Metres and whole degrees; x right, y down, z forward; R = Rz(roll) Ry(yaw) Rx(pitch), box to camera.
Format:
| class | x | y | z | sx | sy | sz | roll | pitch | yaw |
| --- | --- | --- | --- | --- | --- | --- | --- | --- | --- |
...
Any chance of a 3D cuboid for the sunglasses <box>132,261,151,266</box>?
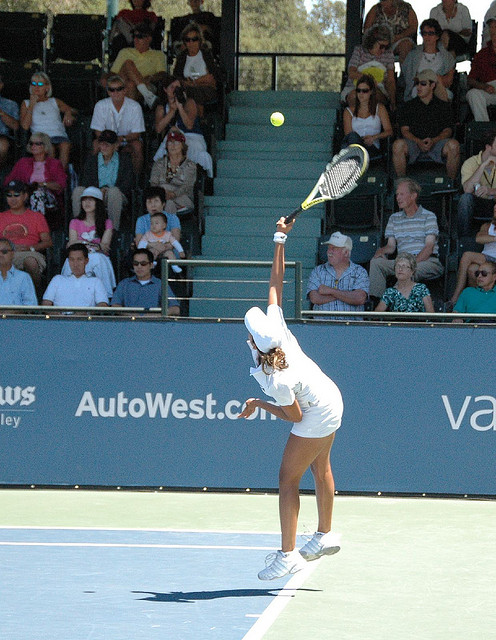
| class | x | y | z | sx | sy | sz | roll | pitch | yaw |
| --- | --- | --- | --- | --- | --- | --- | --- | --- | --- |
| sunglasses | -0.997 | -0.533 | 11.067 | 0.151 | 0.041 | 0.092 | 0 | 3 | -10 |

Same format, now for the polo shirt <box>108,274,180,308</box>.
| class | x | y | z | sx | sy | sz | roll | pitch | yaw |
| --- | --- | --- | --- | --- | --- | --- | --- | --- | --- |
| polo shirt | -0.986 | -0.263 | 10.997 | 0.352 | 0.263 | 0.135 | 2 | -18 | 7 |

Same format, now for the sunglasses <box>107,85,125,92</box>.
| class | x | y | z | sx | sy | sz | roll | pitch | yaw |
| --- | --- | --- | --- | --- | --- | --- | --- | --- | --- |
| sunglasses | -1.595 | -2.789 | 14.256 | 0.195 | 0.074 | 0.084 | 0 | 3 | -7 |

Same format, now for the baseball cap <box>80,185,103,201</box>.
| class | x | y | z | sx | sy | sz | roll | pitch | yaw |
| --- | --- | --- | --- | --- | --- | --- | --- | --- | --- |
| baseball cap | -1.673 | -1.358 | 12.627 | 0.224 | 0.149 | 0.458 | 0 | 3 | -7 |

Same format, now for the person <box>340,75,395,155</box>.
| class | x | y | z | sx | sy | sz | roll | pitch | yaw |
| --- | --- | --- | --- | --- | --- | --- | --- | --- | --- |
| person | 1.372 | -2.382 | 13.790 | 0.465 | 0.902 | 0.471 | -1 | 3 | -23 |

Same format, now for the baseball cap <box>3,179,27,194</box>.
| class | x | y | z | sx | sy | sz | roll | pitch | yaw |
| --- | --- | --- | --- | --- | --- | --- | --- | --- | --- |
| baseball cap | -2.490 | -1.432 | 12.627 | 0.216 | 0.150 | 0.328 | 0 | 3 | -11 |

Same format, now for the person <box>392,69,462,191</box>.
| class | x | y | z | sx | sy | sz | roll | pitch | yaw |
| --- | --- | --- | --- | --- | --- | --- | --- | --- | --- |
| person | 2.057 | -2.227 | 13.598 | 0.772 | 1.466 | 1.064 | 1 | 3 | 9 |

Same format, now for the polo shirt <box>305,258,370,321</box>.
| class | x | y | z | sx | sy | sz | roll | pitch | yaw |
| --- | --- | --- | --- | --- | --- | --- | --- | --- | --- |
| polo shirt | 0.853 | -0.286 | 11.340 | 0.551 | 0.608 | 0.352 | 4 | 9 | 7 |

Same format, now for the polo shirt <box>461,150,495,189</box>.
| class | x | y | z | sx | sy | sz | roll | pitch | yaw |
| --- | --- | --- | --- | --- | --- | --- | --- | --- | --- |
| polo shirt | 2.453 | -1.625 | 12.758 | 0.296 | 0.418 | 0.447 | 0 | 3 | -12 |

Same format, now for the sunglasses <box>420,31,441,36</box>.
| class | x | y | z | sx | sy | sz | roll | pitch | yaw |
| --- | --- | --- | --- | --- | --- | --- | --- | --- | --- |
| sunglasses | 2.192 | -3.512 | 14.465 | 0.167 | 0.056 | 0.137 | 1 | 3 | 9 |

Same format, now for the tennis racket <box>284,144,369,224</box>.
| class | x | y | z | sx | sy | sz | roll | pitch | yaw |
| --- | --- | --- | --- | --- | --- | --- | --- | --- | --- |
| tennis racket | 0.491 | -0.842 | 7.276 | 0.469 | 0.516 | 0.815 | 1 | 3 | 8 |

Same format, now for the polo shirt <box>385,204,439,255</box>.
| class | x | y | z | sx | sy | sz | roll | pitch | yaw |
| --- | --- | --- | --- | --- | --- | --- | --- | --- | --- |
| polo shirt | 1.694 | -0.939 | 12.223 | 0.627 | 0.527 | 0.332 | 0 | 9 | 34 |

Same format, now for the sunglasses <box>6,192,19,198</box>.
| class | x | y | z | sx | sy | sz | roll | pitch | yaw |
| --- | --- | --- | --- | --- | --- | --- | --- | --- | --- |
| sunglasses | -2.502 | -1.326 | 12.511 | 0.153 | 0.052 | 0.058 | 2 | 3 | 23 |

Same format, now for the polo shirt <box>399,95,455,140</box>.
| class | x | y | z | sx | sy | sz | roll | pitch | yaw |
| --- | --- | --- | --- | --- | --- | --- | --- | --- | --- |
| polo shirt | 2.048 | -2.334 | 13.889 | 0.798 | 0.639 | 0.432 | 0 | -4 | 1 |

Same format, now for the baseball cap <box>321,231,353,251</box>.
| class | x | y | z | sx | sy | sz | roll | pitch | yaw |
| --- | --- | --- | --- | --- | --- | --- | --- | --- | --- |
| baseball cap | 0.864 | -0.734 | 11.210 | 0.229 | 0.116 | 0.144 | 23 | -4 | -38 |

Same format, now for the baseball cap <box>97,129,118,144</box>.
| class | x | y | z | sx | sy | sz | roll | pitch | yaw |
| --- | --- | --- | --- | --- | --- | --- | --- | --- | --- |
| baseball cap | -1.603 | -2.087 | 13.439 | 0.201 | 0.182 | 0.285 | 0 | 3 | -9 |

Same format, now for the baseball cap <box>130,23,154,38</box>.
| class | x | y | z | sx | sy | sz | roll | pitch | yaw |
| --- | --- | --- | --- | --- | --- | --- | --- | --- | --- |
| baseball cap | -1.389 | -3.838 | 15.607 | 0.254 | 0.173 | 0.330 | 0 | 3 | -10 |

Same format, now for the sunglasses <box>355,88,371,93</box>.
| class | x | y | z | sx | sy | sz | roll | pitch | yaw |
| --- | --- | --- | --- | --- | --- | --- | --- | --- | --- |
| sunglasses | 1.308 | -2.653 | 13.618 | 0.184 | 0.065 | 0.088 | 2 | 3 | 25 |

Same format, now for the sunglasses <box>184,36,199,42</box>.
| class | x | y | z | sx | sy | sz | roll | pitch | yaw |
| --- | --- | --- | --- | --- | --- | --- | --- | --- | --- |
| sunglasses | -0.742 | -3.585 | 15.109 | 0.172 | 0.060 | 0.074 | 1 | 3 | 14 |

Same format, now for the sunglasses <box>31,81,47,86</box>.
| class | x | y | z | sx | sy | sz | roll | pitch | yaw |
| --- | --- | --- | --- | --- | --- | --- | --- | --- | --- |
| sunglasses | -2.542 | -2.881 | 14.386 | 0.172 | 0.057 | 0.075 | 0 | 3 | -8 |

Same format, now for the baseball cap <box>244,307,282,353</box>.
| class | x | y | z | sx | sy | sz | roll | pitch | yaw |
| --- | --- | --- | --- | --- | --- | --- | --- | --- | --- |
| baseball cap | 0.054 | 0.043 | 6.445 | 0.147 | 0.249 | 0.097 | -34 | -13 | -25 |

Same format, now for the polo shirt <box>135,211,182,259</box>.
| class | x | y | z | sx | sy | sz | roll | pitch | yaw |
| --- | --- | --- | --- | --- | --- | --- | --- | --- | --- |
| polo shirt | -0.926 | -0.855 | 12.054 | 0.596 | 0.636 | 0.340 | -2 | -9 | -8 |

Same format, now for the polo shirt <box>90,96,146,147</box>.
| class | x | y | z | sx | sy | sz | roll | pitch | yaw |
| --- | --- | --- | --- | --- | --- | --- | --- | --- | --- |
| polo shirt | -1.595 | -2.451 | 14.356 | 0.665 | 0.515 | 0.280 | 1 | 21 | -9 |

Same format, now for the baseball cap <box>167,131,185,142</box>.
| class | x | y | z | sx | sy | sz | roll | pitch | yaw |
| --- | --- | --- | --- | --- | --- | --- | --- | --- | --- |
| baseball cap | -0.789 | -2.050 | 13.197 | 0.270 | 0.129 | 0.140 | -2 | 4 | -42 |
